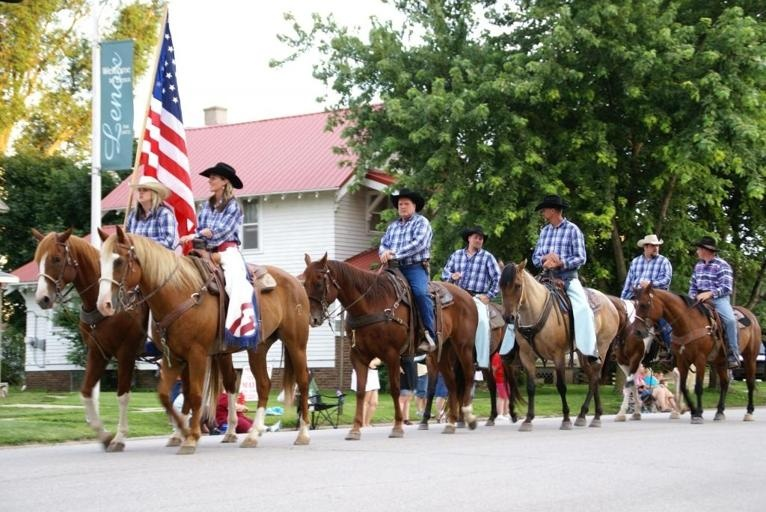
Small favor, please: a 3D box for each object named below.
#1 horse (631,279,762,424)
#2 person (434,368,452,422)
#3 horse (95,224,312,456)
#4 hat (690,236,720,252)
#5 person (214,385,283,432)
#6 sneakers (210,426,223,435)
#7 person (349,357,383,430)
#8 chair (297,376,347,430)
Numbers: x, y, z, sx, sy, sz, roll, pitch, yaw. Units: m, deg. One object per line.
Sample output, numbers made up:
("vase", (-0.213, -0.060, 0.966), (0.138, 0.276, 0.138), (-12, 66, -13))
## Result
("horse", (8.185, 2.510, 27.190), (1.547, 3.504, 4.398), (-9, -12, 41))
("person", (1.646, 3.786, 27.808), (0.388, 1.069, 1.545), (9, 3, -2))
("horse", (-3.690, 1.924, 22.091), (1.862, 4.268, 6.174), (-7, -10, 33))
("hat", (8.620, -0.296, 27.898), (0.804, 0.269, 0.688), (15, -8, -37))
("person", (-3.317, 3.866, 24.920), (1.632, 0.783, 0.506), (4, -19, 24))
("sneakers", (-3.893, 4.046, 24.502), (0.254, 0.125, 0.377), (1, -5, -3))
("person", (-0.560, 3.544, 27.045), (0.483, 1.259, 1.806), (11, -11, -1))
("chair", (-1.449, 3.834, 27.180), (1.014, 1.140, 0.921), (5, -5, -3))
